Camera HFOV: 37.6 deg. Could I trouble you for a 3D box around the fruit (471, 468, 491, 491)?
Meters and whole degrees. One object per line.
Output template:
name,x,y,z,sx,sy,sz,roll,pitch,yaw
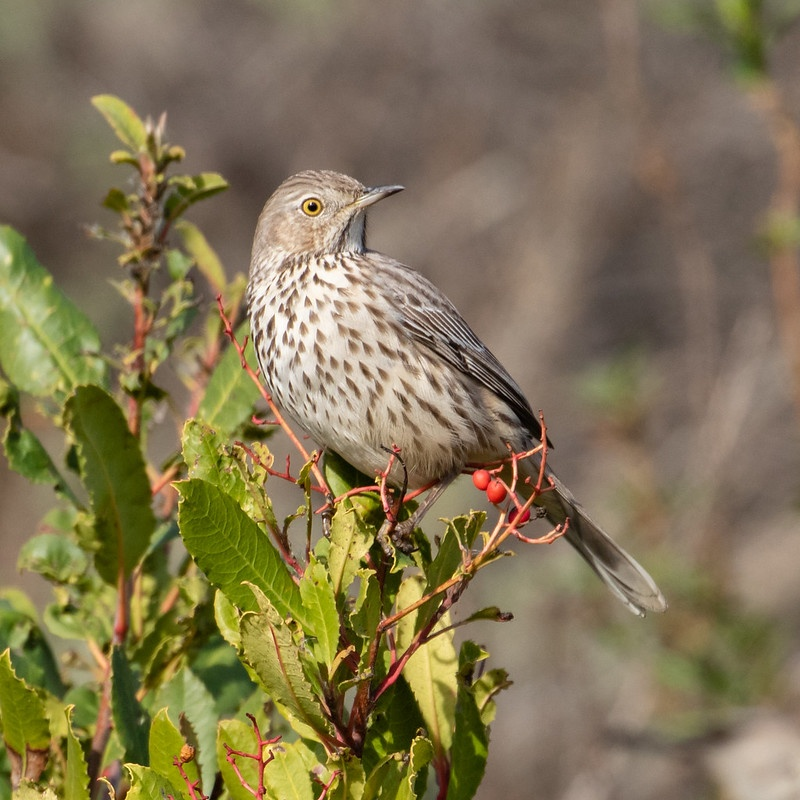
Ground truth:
fruit,0.195,0.186,2.760,0.039,0.059,0.042,-1,-11,-24
